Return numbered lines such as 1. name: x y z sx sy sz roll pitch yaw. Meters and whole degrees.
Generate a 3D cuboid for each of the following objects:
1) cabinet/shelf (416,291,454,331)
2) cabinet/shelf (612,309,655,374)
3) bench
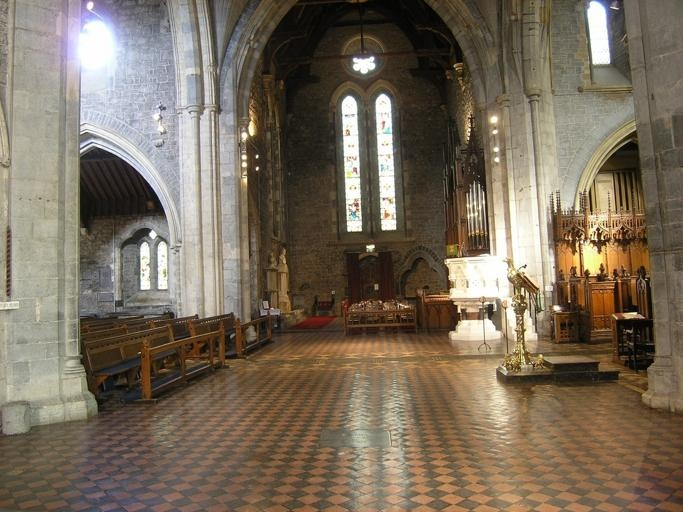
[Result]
1. cabinet/shelf: 2.788 1.651 17.378 1.185 1.218 0.899 0 -4 3
2. cabinet/shelf: 4.980 1.500 10.092 0.324 0.590 1.142 -2 1 13
3. bench: -3.420 1.771 11.015 2.358 1.251 4.439 -3 4 -6
